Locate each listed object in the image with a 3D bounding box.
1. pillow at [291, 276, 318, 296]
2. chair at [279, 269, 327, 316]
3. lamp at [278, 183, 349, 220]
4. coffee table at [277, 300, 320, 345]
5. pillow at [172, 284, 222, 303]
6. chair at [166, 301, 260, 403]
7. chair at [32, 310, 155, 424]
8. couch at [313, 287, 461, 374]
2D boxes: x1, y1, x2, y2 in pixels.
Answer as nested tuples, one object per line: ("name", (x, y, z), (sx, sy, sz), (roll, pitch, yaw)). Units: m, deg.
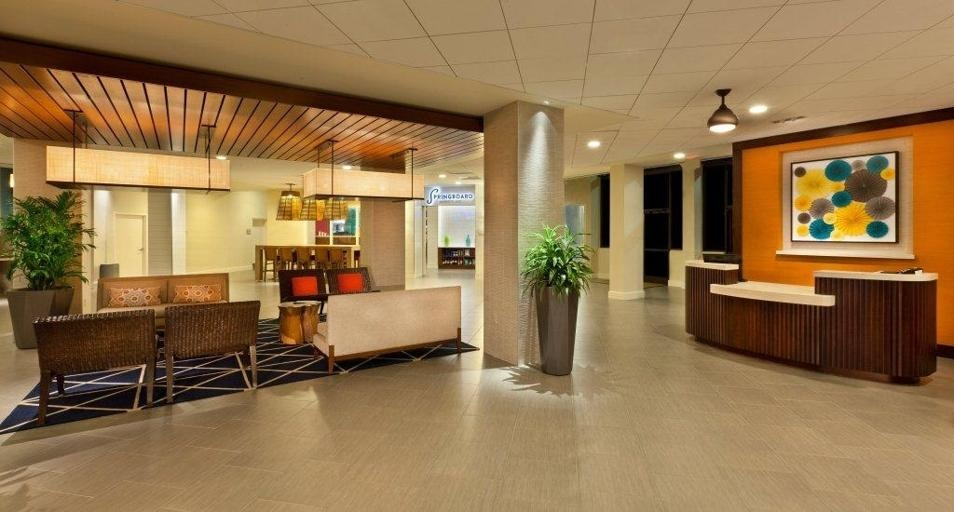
("pillow", (-3.892, 0.680, 12.426), (0.535, 0.418, 0.114), (4, -12, -19))
("chair", (-3.749, 0.888, 12.610), (1.439, 1.134, 1.106), (1, -3, -25))
("lamp", (-4.570, -1.469, 15.422), (1.709, 0.541, 0.592), (1, 3, 5))
("coffee table", (-3.637, 1.338, 11.161), (0.866, 0.706, 0.781), (-2, 5, -8))
("pillow", (-5.748, 0.785, 11.340), (0.974, 0.322, 0.159), (4, -13, -25))
("chair", (-4.445, 1.535, 9.239), (1.453, 1.110, 0.948), (-3, 2, -26))
("chair", (-5.967, 1.782, 9.066), (2.199, 1.347, 2.155), (-14, -16, 25))
("couch", (-1.947, 1.339, 10.527), (1.409, 1.383, 3.122), (0, 1, 42))
